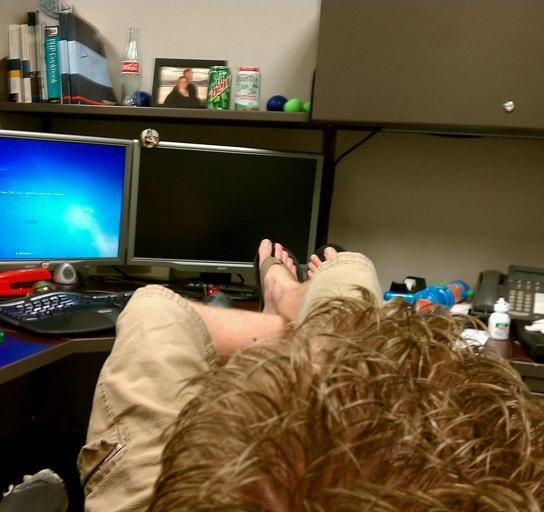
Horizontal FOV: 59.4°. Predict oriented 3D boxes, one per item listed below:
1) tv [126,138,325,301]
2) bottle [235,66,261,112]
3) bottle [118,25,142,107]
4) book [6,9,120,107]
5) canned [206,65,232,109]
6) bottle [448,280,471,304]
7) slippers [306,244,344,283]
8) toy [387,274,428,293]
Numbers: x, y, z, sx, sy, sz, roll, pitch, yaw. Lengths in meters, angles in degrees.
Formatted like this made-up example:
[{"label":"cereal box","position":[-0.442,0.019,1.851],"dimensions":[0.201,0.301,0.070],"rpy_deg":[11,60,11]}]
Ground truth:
[{"label":"tv","position":[-0.135,-0.111,1.381],"dimensions":[0.500,0.350,0.129],"rpy_deg":[4,9,-4]},{"label":"bottle","position":[-0.073,-0.494,1.415],"dimensions":[0.071,0.130,0.120],"rpy_deg":[2,9,-3]},{"label":"bottle","position":[-0.448,-0.601,1.521],"dimensions":[0.067,0.258,0.192],"rpy_deg":[0,9,-16]},{"label":"book","position":[-0.619,-0.591,1.432],"dimensions":[0.310,0.281,0.232],"rpy_deg":[-2,10,-28]},{"label":"canned","position":[-0.154,-0.494,1.391],"dimensions":[0.068,0.139,0.099],"rpy_deg":[1,9,-8]},{"label":"bottle","position":[0.542,0.111,1.390],"dimensions":[0.064,0.071,0.051],"rpy_deg":[13,-9,-6]},{"label":"slippers","position":[0.142,0.019,1.347],"dimensions":[0.074,0.054,0.167],"rpy_deg":[-11,36,19]},{"label":"toy","position":[0.390,0.073,1.395],"dimensions":[0.053,0.031,0.089],"rpy_deg":[9,15,41]}]
